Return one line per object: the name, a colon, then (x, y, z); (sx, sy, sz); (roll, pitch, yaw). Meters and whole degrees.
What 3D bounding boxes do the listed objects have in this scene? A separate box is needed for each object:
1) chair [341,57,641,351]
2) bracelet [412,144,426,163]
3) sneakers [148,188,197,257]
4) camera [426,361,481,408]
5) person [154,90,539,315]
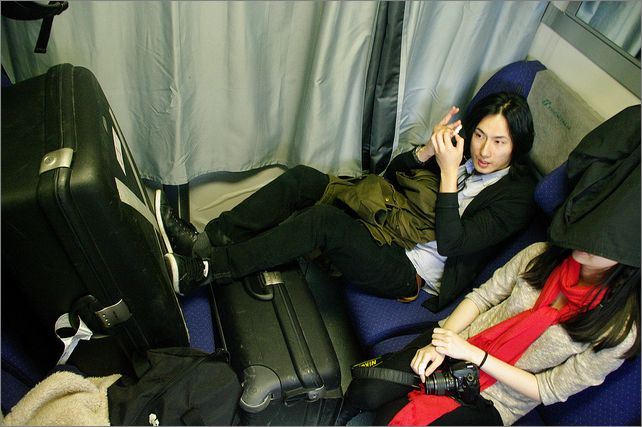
chair: (0.648, -0.269, 2.532); (1.144, 1.439, 1.063); (1, 43, -27)
bracelet: (0.452, -0.278, 2.388); (0.058, 0.026, 0.077); (-8, 62, 26)
sneakers: (-0.613, 0.058, 2.139); (0.137, 0.363, 0.118); (-13, 36, -7)
camera: (0.474, 0.604, 1.828); (0.161, 0.103, 0.152); (-2, 42, -6)
person: (0.127, -0.160, 2.425); (1.681, 1.029, 0.780); (1, 33, -15)
